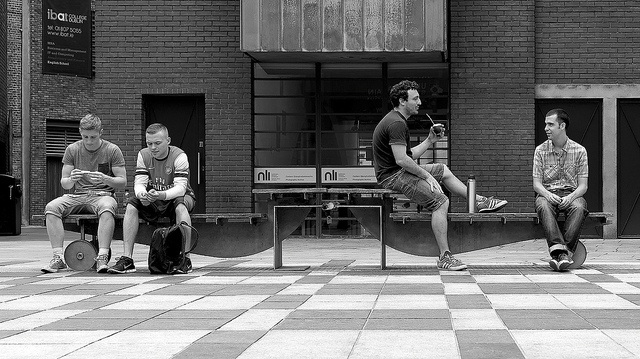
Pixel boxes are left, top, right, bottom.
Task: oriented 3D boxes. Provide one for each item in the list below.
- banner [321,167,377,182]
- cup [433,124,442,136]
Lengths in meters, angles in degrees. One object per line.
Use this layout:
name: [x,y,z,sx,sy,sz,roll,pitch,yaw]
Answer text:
banner: [0.689,-0.128,20.256,1.328,0.349,0.139,0,16,4]
cup: [2.105,-0.896,14.682,0.202,0.177,0.183,0,-3,-8]
